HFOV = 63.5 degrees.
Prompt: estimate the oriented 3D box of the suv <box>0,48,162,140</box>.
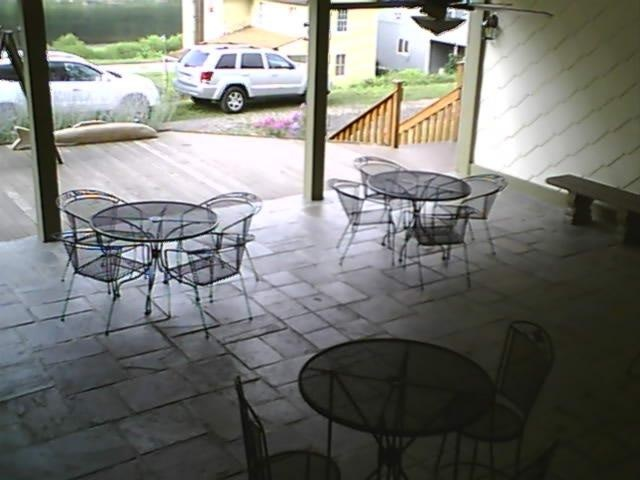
[{"bbox_3d":[-5.172,-3.182,11.440,3.910,1.406,1.650,-13,33,-21],"label":"suv"}]
